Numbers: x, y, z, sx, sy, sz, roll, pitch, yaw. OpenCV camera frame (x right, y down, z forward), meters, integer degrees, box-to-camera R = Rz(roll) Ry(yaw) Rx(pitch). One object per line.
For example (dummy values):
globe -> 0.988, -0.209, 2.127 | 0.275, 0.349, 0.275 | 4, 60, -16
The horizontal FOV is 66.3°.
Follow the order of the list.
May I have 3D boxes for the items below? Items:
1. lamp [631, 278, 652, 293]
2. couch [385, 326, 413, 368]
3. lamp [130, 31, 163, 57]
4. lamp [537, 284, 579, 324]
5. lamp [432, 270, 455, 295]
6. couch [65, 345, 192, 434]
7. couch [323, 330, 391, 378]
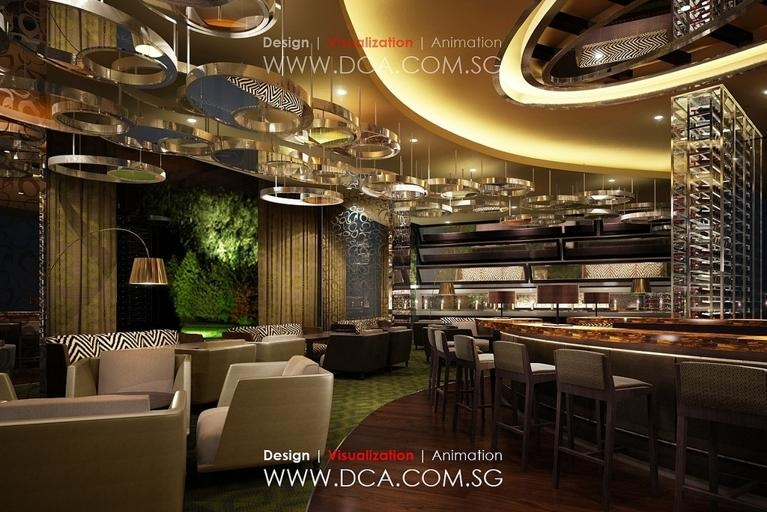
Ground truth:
lamp -> 6.299, 0.756, 14.368 | 0.406, 0.361, 0.394 | 2, -6, -24
couch -> 0.302, 1.872, 12.144 | 0.720, 0.665, 0.744 | 1, -3, -23
lamp -> -2.424, -2.115, 5.989 | 0.285, 0.170, 0.271 | 2, 8, 7
lamp -> 2.657, 0.745, 9.025 | 0.615, 0.678, 0.634 | -1, -6, 27
lamp -> 1.931, 0.886, 17.610 | 0.961, 0.891, 0.635 | 1, -10, 2
couch -> -3.233, 1.512, 7.663 | 1.496, 1.399, 1.364 | 5, -16, -26
couch -> -0.530, 1.857, 11.190 | 0.832, 0.801, 1.258 | -1, -7, 25
